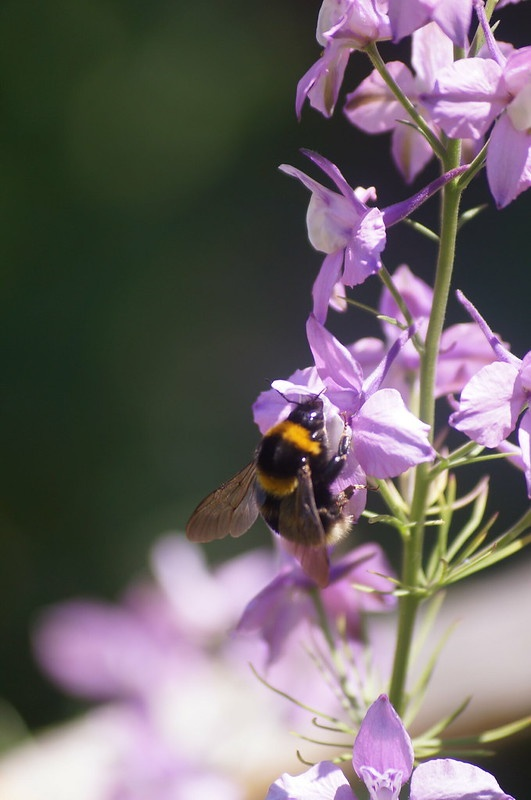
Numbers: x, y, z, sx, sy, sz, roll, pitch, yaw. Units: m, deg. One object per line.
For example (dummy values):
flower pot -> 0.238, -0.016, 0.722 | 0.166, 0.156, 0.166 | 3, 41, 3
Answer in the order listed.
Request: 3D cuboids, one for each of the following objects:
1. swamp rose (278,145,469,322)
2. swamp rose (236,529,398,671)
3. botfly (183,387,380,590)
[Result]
swamp rose -> 0.069, -0.131, 0.685 | 0.107, 0.123, 0.118 | -23, 34, -35
swamp rose -> 0.039, 0.186, 0.852 | 0.130, 0.166, 0.105 | -10, 15, -39
botfly -> 0.007, 0.076, 0.772 | 0.134, 0.183, 0.144 | -5, 15, -5
